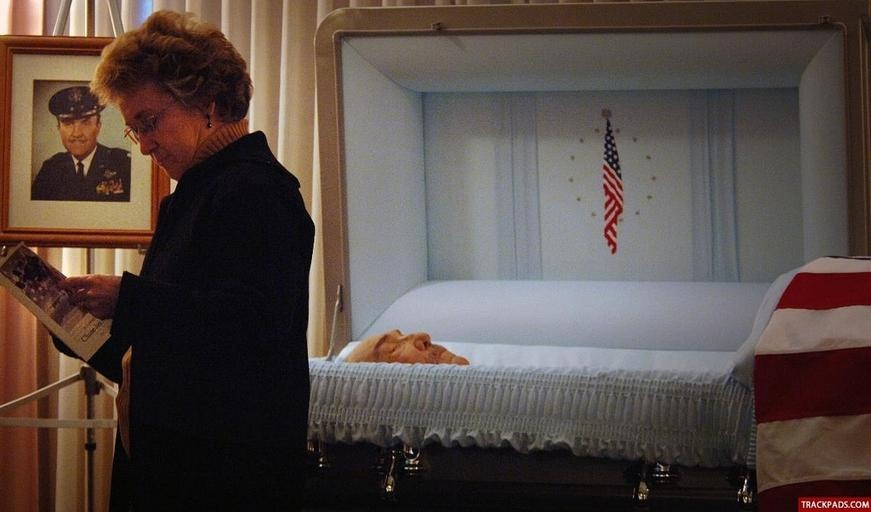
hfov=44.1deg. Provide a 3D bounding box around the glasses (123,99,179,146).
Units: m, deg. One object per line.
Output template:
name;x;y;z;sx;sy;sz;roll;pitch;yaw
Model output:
glasses;-0.853;-0.409;3.205;0.152;0.112;0.154;-22;-13;30

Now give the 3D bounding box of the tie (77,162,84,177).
tie;-1.311;-0.320;3.974;0.036;0.047;0.012;1;-1;-1

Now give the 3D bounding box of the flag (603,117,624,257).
flag;0.696;-0.287;4.212;0.082;0.550;0.130;-1;-8;10
